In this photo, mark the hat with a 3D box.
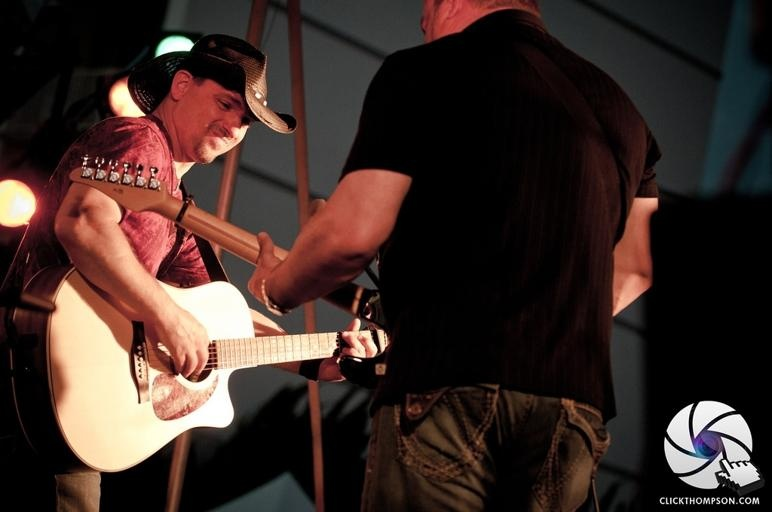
[{"bbox_3d":[-1.254,-1.183,5.903,0.859,0.451,0.657,22,-17,6],"label":"hat"}]

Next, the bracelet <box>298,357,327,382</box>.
[{"bbox_3d":[-0.554,0.837,6.117,0.133,0.136,0.179,10,-29,-20],"label":"bracelet"}]
